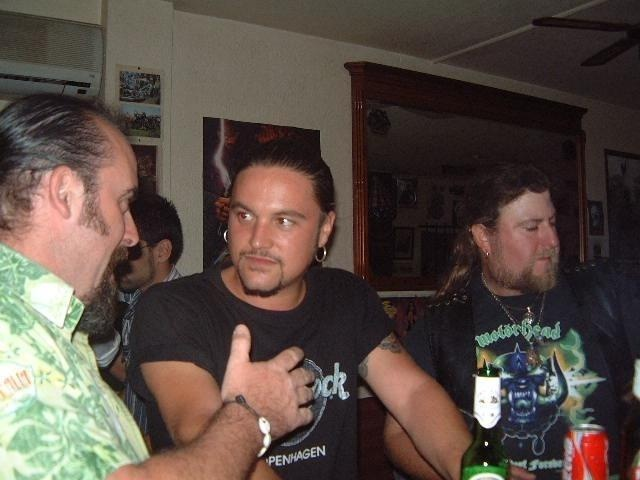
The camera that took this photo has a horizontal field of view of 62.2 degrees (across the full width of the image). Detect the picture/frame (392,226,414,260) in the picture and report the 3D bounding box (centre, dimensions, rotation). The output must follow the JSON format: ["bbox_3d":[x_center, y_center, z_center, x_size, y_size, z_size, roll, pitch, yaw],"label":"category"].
[{"bbox_3d":[0.683,0.022,4.450,0.270,0.300,0.021,3,-5,-38],"label":"picture/frame"}]

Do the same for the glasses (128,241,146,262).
[{"bbox_3d":[-1.048,0.064,3.020,0.118,0.114,0.117,1,-7,-2],"label":"glasses"}]

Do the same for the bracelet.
[{"bbox_3d":[-0.177,0.528,1.499,0.057,0.166,0.126,-36,17,12],"label":"bracelet"}]

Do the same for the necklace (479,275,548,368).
[{"bbox_3d":[0.897,0.367,2.357,0.186,0.311,0.087,-2,-27,-2],"label":"necklace"}]

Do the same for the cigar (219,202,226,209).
[{"bbox_3d":[-0.688,-0.252,3.709,0.039,0.041,0.011,11,-4,-28],"label":"cigar"}]
